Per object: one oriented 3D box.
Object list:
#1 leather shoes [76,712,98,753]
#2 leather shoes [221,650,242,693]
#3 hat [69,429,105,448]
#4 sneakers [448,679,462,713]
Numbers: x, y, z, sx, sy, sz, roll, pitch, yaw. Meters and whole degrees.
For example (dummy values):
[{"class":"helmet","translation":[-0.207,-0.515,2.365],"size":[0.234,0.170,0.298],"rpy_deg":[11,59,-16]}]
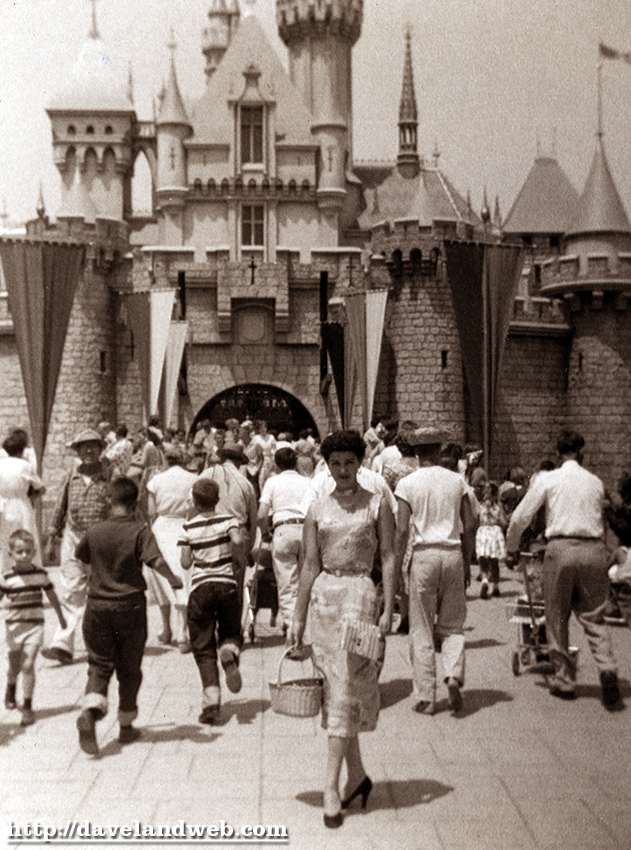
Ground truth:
[{"class":"leather shoes","translation":[-1.115,1.506,6.432],"size":[0.069,0.283,0.156],"rpy_deg":[-3,-5,-3]},{"class":"leather shoes","translation":[-0.463,1.350,7.200],"size":[0.070,0.322,0.102],"rpy_deg":[-7,-5,-3]},{"class":"hat","translation":[-1.438,0.082,8.355],"size":[0.162,0.115,0.178],"rpy_deg":[-10,-9,36]},{"class":"sneakers","translation":[0.772,1.514,7.289],"size":[0.060,0.258,0.092],"rpy_deg":[0,10,7]}]
